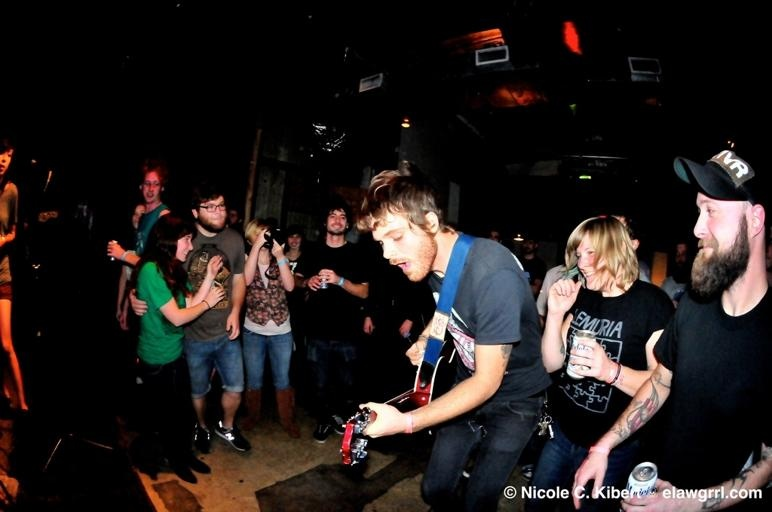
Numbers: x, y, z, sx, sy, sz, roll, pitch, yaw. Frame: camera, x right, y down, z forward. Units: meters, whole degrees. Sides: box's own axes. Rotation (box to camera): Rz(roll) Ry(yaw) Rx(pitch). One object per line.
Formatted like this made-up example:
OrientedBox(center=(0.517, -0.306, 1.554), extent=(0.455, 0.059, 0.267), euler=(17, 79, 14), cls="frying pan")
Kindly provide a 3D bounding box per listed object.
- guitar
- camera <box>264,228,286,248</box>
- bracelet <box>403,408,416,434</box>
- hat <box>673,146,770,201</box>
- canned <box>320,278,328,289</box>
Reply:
OrientedBox(center=(0.270, 1.355, 4.907), extent=(0.361, 0.652, 1.798), euler=(10, 14, 25), cls="guitar")
OrientedBox(center=(-1.464, -0.234, 6.657), extent=(0.285, 0.239, 0.066), euler=(-3, -3, -39), cls="camera")
OrientedBox(center=(0.205, 1.427, 4.291), extent=(0.088, 0.210, 0.111), euler=(2, 6, 3), cls="bracelet")
OrientedBox(center=(2.722, -0.653, 4.167), extent=(0.598, 0.431, 0.313), euler=(4, 6, 26), cls="hat")
OrientedBox(center=(-0.838, 0.389, 6.824), extent=(0.124, 0.115, 0.116), euler=(4, -4, -31), cls="canned")
